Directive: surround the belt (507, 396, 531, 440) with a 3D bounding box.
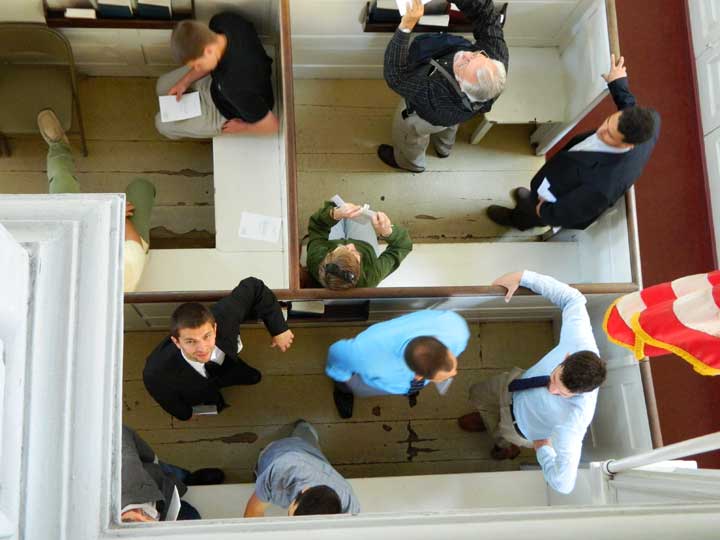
[{"bbox_3d":[0.953,0.920,4.465,0.048,0.203,0.192,-9,95,8],"label":"belt"}]

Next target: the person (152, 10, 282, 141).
[{"bbox_3d":[-0.874,-1.225,4.574,0.521,0.768,0.381,-9,98,-7],"label":"person"}]

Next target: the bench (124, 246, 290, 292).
[{"bbox_3d":[-0.898,0.004,4.409,0.884,0.443,0.258,1,81,-6],"label":"bench"}]

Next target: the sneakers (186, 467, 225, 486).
[{"bbox_3d":[-1.005,1.352,4.762,0.204,0.071,0.107,-2,54,-2],"label":"sneakers"}]

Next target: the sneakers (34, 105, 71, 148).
[{"bbox_3d":[-1.985,-0.896,4.727,0.154,0.090,0.336,-30,109,-24],"label":"sneakers"}]

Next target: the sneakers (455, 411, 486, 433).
[{"bbox_3d":[0.765,1.066,5.001,0.201,0.080,0.106,1,98,0],"label":"sneakers"}]

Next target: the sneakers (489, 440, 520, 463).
[{"bbox_3d":[0.993,1.246,4.963,0.206,0.050,0.120,4,104,6],"label":"sneakers"}]

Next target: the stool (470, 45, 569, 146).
[{"bbox_3d":[1.205,-1.314,5.333,0.543,0.411,0.546,-1,96,-2],"label":"stool"}]

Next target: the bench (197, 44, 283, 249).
[{"bbox_3d":[-0.717,-0.808,5.417,0.655,1.615,1.891,0,88,-4],"label":"bench"}]

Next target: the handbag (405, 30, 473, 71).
[{"bbox_3d":[0.475,-1.338,4.355,0.288,0.105,0.226,-3,88,4],"label":"handbag"}]

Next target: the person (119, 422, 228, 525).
[{"bbox_3d":[-1.069,1.178,4.147,0.297,0.909,0.418,-8,100,-6],"label":"person"}]

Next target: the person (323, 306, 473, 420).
[{"bbox_3d":[0.205,0.578,4.417,0.499,1.347,0.365,-21,90,-6],"label":"person"}]

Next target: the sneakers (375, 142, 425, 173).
[{"bbox_3d":[0.321,-0.829,5.522,0.411,0.283,0.157,18,93,-9],"label":"sneakers"}]

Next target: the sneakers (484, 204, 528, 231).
[{"bbox_3d":[1.087,-0.400,5.416,0.328,0.128,0.110,23,100,0],"label":"sneakers"}]

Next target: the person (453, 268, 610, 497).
[{"bbox_3d":[1.059,0.726,4.482,0.462,1.390,0.952,0,92,-16],"label":"person"}]
